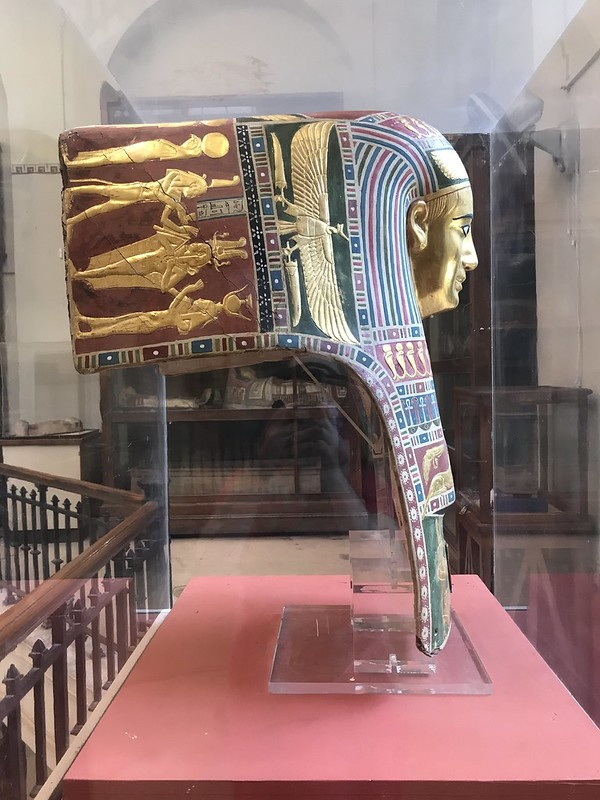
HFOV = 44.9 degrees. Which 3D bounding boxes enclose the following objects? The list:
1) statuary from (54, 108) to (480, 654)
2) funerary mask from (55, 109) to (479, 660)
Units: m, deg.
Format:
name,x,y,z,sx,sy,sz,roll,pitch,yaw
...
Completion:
name,x,y,z,sx,sy,sz,roll,pitch,yaw
statuary,-0.025,-0.062,1.052,0.529,0.657,0.477,-5,13,-10
funerary mask,-0.010,-0.054,1.048,0.506,0.650,0.432,-1,11,0
